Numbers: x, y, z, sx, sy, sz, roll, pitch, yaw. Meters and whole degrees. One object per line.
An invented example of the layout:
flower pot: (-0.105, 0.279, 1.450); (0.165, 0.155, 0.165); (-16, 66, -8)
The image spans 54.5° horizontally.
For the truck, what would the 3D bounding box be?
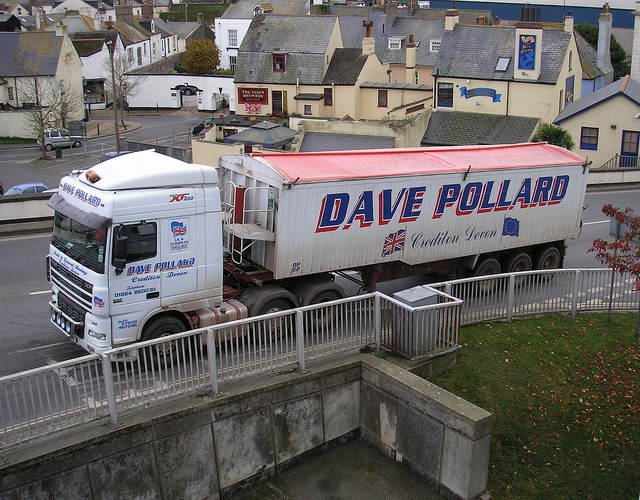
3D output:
truck: (0.190, 0.243, 15.166); (10.461, 3.170, 2.951); (-12, 27, -29)
